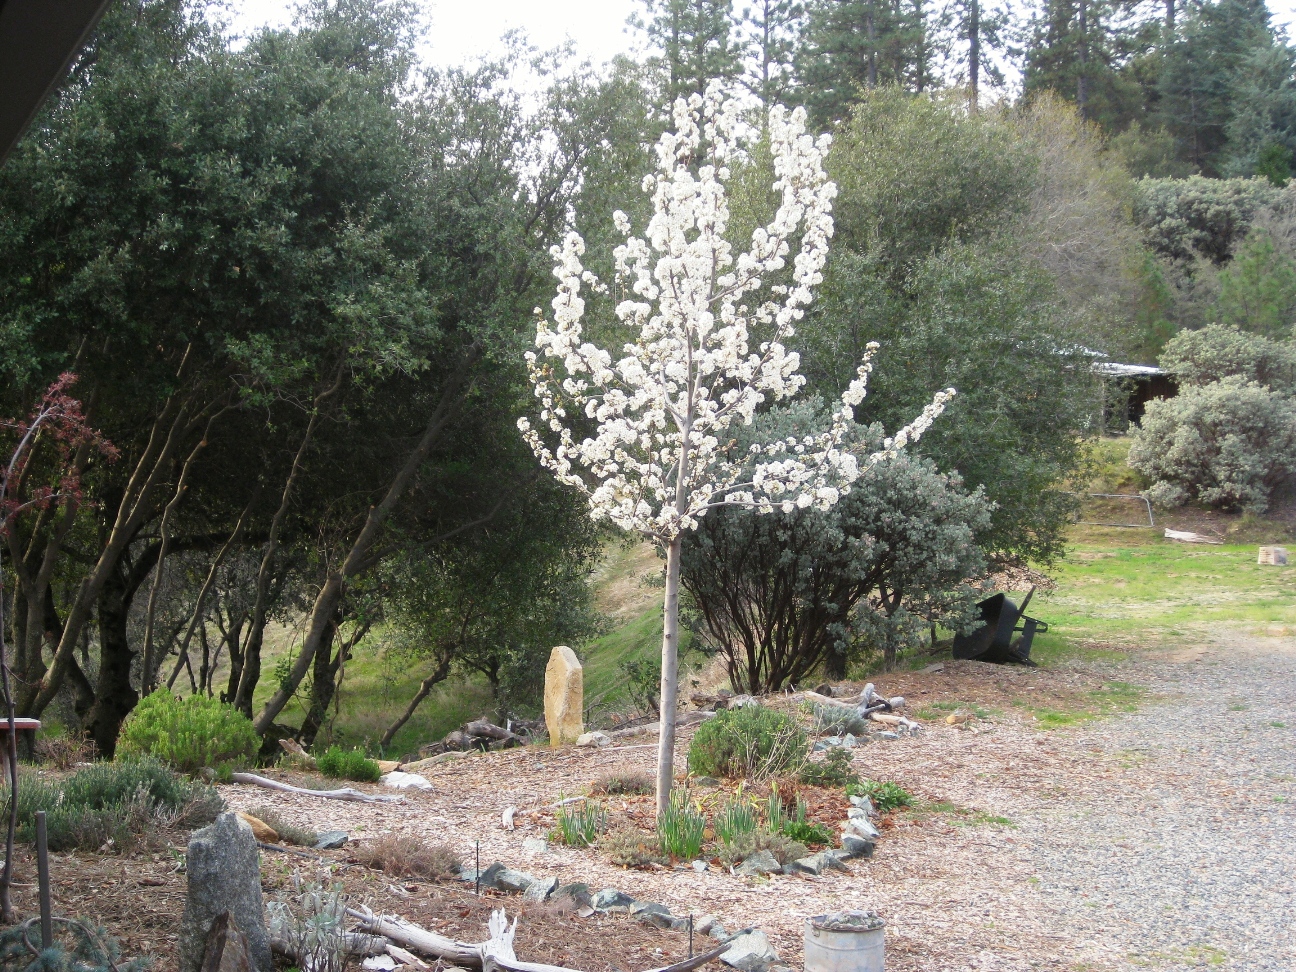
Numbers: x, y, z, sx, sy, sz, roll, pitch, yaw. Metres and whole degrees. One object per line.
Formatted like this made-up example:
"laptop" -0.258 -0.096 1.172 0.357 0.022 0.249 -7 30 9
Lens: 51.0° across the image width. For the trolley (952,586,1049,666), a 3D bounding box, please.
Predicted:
"trolley" 5.746 2.553 22.950 1.647 1.172 1.680 13 -22 -32
